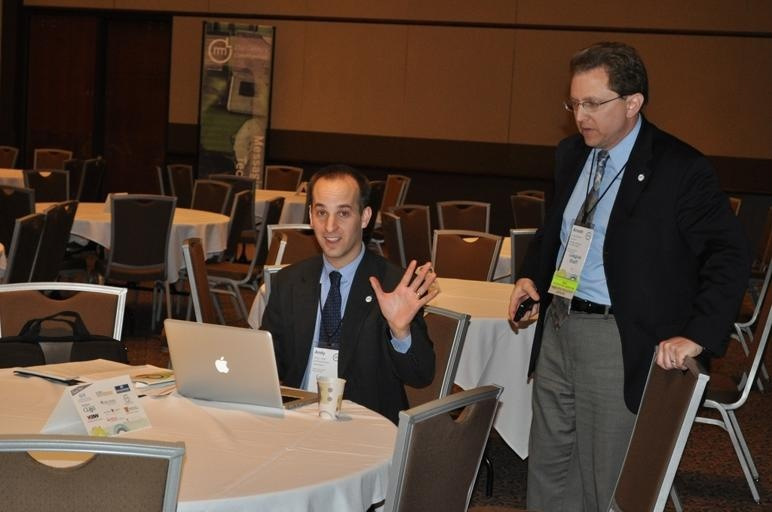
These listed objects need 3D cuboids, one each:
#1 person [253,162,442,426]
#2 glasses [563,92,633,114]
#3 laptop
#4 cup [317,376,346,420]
[{"bbox_3d":[-0.157,0.149,2.508,0.759,0.967,0.444,7,12,12],"label":"person"},{"bbox_3d":[0.755,-0.543,2.224,0.181,0.072,0.087,12,15,30],"label":"glasses"},{"bbox_3d":[-0.545,0.376,2.121,0.355,0.242,0.334,1,2,24],"label":"laptop"},{"bbox_3d":[-0.192,0.490,2.157,0.117,0.146,0.125,0,-4,0],"label":"cup"}]
